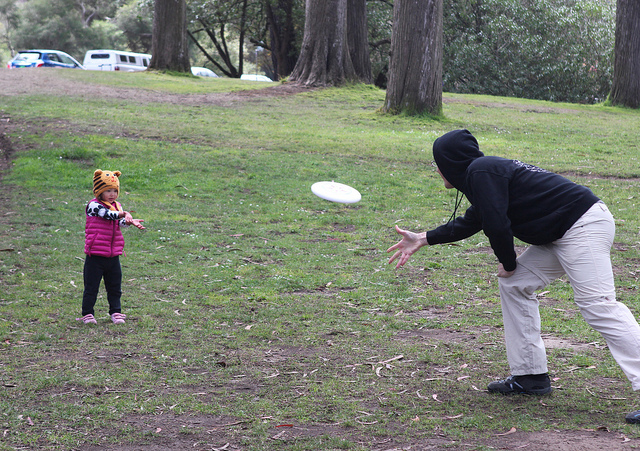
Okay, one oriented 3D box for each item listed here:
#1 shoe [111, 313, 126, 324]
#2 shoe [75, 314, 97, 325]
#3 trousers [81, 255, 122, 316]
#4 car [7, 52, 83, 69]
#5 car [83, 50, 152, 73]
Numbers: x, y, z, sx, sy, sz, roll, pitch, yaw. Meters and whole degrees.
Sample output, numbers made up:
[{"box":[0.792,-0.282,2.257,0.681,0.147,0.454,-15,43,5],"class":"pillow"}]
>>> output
[{"box":[-4.254,1.943,25.611,0.269,0.195,0.152,0,9,-13],"class":"shoe"},{"box":[-4.909,1.952,25.620,0.363,0.116,0.145,-3,4,5],"class":"shoe"},{"box":[-4.608,1.265,25.687,0.805,1.285,0.400,1,9,-10],"class":"trousers"},{"box":[-11.206,-6.691,49.292,2.342,0.573,3.227,2,7,-3],"class":"car"},{"box":[-8.864,-7.033,51.971,2.706,0.845,5.311,2,7,-2],"class":"car"}]
